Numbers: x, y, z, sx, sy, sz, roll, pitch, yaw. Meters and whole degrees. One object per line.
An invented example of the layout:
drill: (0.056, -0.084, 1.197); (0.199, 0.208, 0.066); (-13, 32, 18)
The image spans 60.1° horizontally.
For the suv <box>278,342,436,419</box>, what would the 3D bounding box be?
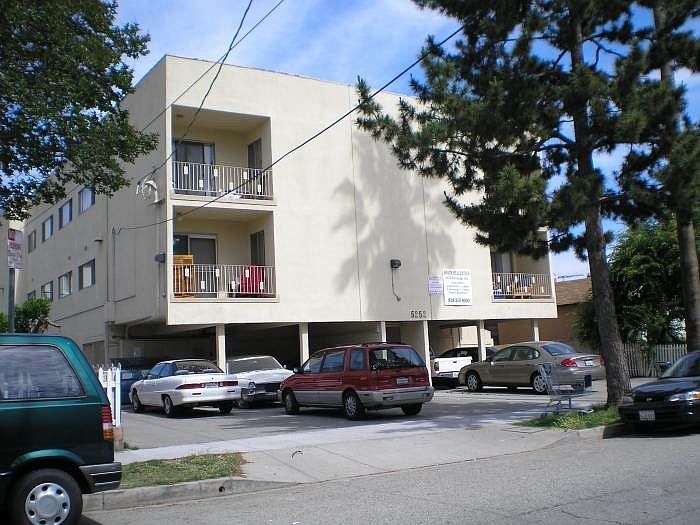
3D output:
suv: (0.020, 3.186, 16.633); (1.921, 1.672, 3.508); (6, -8, -37)

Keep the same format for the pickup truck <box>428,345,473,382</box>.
pickup truck: (4.266, 4.446, 26.116); (1.107, 1.072, 2.144); (-1, -4, -17)

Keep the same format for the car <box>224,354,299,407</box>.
car: (-2.984, 3.728, 19.334); (1.223, 0.896, 2.374); (1, -13, -27)

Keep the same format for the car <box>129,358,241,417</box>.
car: (-5.118, 3.816, 18.504); (3.803, 1.665, 1.523); (-13, -13, 43)

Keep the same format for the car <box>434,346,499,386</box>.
car: (4.504, 4.279, 25.886); (1.497, 1.355, 2.904); (0, -4, -23)
